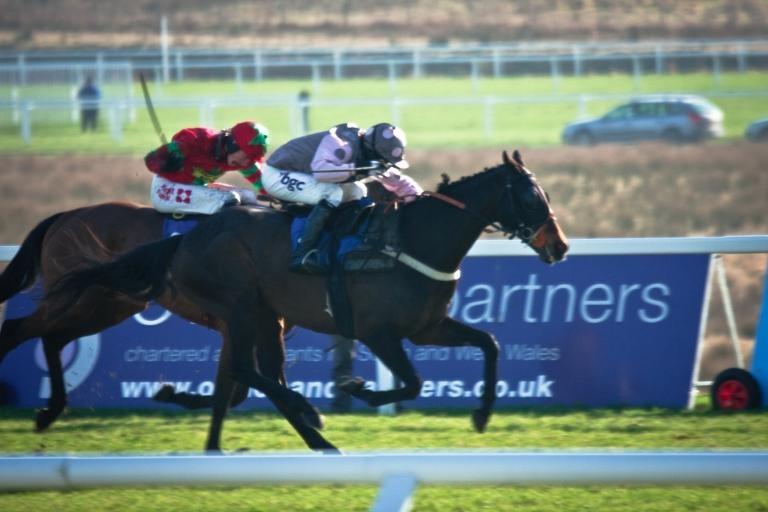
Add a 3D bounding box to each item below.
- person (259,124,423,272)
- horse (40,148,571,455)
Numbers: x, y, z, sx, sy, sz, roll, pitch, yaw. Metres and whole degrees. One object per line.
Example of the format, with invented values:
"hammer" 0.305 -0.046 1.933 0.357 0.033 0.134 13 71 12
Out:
"person" -0.273 -0.505 12.916 1.487 1.033 0.777 8 19 22
"horse" -0.466 0.506 13.717 1.191 2.235 5.291 3 -4 -44
